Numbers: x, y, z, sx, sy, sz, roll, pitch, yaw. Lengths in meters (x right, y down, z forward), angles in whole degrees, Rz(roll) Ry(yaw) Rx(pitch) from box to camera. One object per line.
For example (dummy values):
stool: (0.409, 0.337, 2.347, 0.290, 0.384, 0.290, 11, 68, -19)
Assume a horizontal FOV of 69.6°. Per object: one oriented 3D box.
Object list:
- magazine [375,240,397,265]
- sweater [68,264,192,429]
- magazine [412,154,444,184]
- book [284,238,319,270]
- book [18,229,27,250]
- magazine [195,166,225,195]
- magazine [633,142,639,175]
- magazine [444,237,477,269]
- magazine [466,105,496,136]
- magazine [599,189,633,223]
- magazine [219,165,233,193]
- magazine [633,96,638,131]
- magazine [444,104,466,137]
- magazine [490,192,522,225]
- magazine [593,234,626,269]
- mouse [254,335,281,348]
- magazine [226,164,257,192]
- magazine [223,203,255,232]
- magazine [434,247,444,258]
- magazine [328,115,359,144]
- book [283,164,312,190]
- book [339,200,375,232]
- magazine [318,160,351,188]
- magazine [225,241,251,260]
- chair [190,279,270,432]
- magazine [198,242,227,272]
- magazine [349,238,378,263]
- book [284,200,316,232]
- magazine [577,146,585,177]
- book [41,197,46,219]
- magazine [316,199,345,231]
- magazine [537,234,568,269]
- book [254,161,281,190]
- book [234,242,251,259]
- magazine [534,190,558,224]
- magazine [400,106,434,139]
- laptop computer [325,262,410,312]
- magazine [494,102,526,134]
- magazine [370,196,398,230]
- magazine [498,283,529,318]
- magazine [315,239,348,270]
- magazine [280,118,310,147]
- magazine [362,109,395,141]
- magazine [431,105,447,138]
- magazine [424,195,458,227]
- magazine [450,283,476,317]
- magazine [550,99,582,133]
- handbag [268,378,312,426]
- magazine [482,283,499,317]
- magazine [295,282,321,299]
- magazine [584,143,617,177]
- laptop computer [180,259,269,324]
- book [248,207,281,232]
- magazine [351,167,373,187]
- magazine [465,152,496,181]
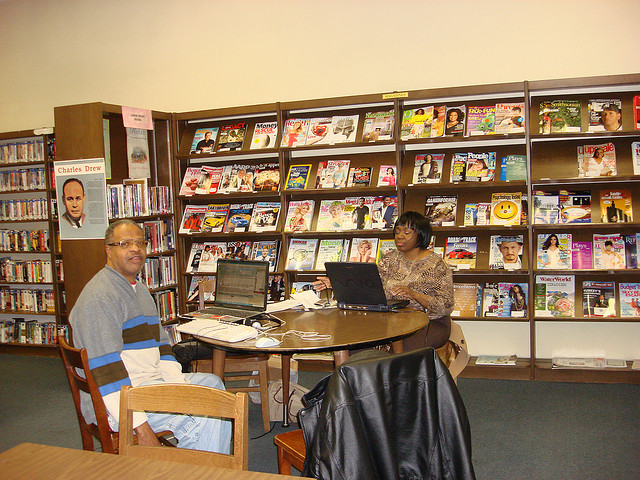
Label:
magazine: (0.617, 0.109, 4.228, 0.240, 0.259, 0.036, 1, -13, 28)
sweater: (-1.150, 0.594, 2.699, 0.572, 0.863, 1.032, -9, -7, -3)
magazine: (1.085, -0.706, 4.556, 0.367, 0.448, 0.050, 4, -35, 20)
book: (-0.185, 0.155, 4.848, 0.338, 0.361, 0.049, 7, -27, 13)
book: (-3.622, -0.003, 5.627, 0.169, 0.214, 0.044, 0, 7, 25)
magazine: (-1.219, -0.667, 5.131, 0.341, 0.383, 0.050, 8, -27, 15)
magazine: (2.867, -0.756, 4.167, 0.046, 0.284, 0.139, 1, 7, 33)
magazine: (1.419, 0.122, 4.570, 0.289, 0.356, 0.378, 5, 12, 43)
magazine: (1.550, -1.144, 4.394, 0.391, 0.378, 0.053, 1, -28, 19)
magazine: (2.727, -0.312, 4.219, 0.337, 0.408, 0.046, -1, -24, 20)
magazine: (-1.036, -0.674, 5.101, 0.050, 0.346, 0.272, 15, -15, -13)
magazine: (2.841, -1.152, 4.143, 0.022, 0.314, 0.195, 1, 7, 30)
magazine: (1.315, -1.160, 4.448, 0.196, 0.325, 0.241, -1, 6, 15)
magazine: (1.787, -0.298, 4.393, 0.344, 0.377, 0.040, 4, -20, 25)
magazine: (2.685, 0.109, 4.243, 0.342, 0.404, 0.048, 1, -16, 18)
mouse: (-0.293, 0.556, 2.559, 0.133, 0.032, 0.142, -3, 6, -10)
magazine: (-0.848, -0.681, 5.050, 0.373, 0.426, 0.043, 6, -30, 25)
magazine: (-0.882, -0.246, 5.063, 0.390, 0.422, 0.059, 2, -34, 12)
magazine: (1.196, 0.111, 4.566, 0.110, 0.026, 0.114, 10, 35, 20)
magazine: (0.255, -1.135, 4.708, 0.361, 0.389, 0.041, 5, -22, 17)
book: (-0.234, -0.687, 4.888, 0.255, 0.258, 0.215, 0, 6, 21)
book: (0.392, -0.241, 4.699, 0.317, 0.377, 0.053, 11, -26, 21)
magazine: (0.159, -0.704, 4.793, 0.306, 0.283, 0.222, -2, 6, 7)
magazine: (-0.884, 0.112, 5.072, 0.220, 0.146, 0.031, 2, -27, 25)
chair: (-0.600, 0.909, 3.671, 0.699, 1.089, 0.748, 3, 9, -17)
magazine: (-1.127, 0.179, 4.845, 0.379, 0.403, 0.058, -1, -34, 21)
magazine: (0.446, 0.087, 4.687, 0.288, 0.210, 0.283, -1, 6, 10)
book: (-0.202, -0.252, 4.850, 0.321, 0.398, 0.044, 8, -22, 23)
magazine: (2.428, -0.746, 4.273, 0.057, 0.280, 0.154, 1, 7, 28)
book: (-3.321, -0.390, 5.552, 0.054, 0.242, 0.135, -6, 7, -31)
magazine: (0.126, -0.258, 4.792, 0.361, 0.448, 0.061, 4, -29, 29)
magazine: (2.205, 0.112, 4.344, 0.379, 0.425, 0.033, 1, -27, 12)
book: (-0.564, -0.704, 4.981, 0.267, 0.300, 0.228, -2, 6, 7)
book: (-0.849, 0.115, 5.103, 0.182, 0.183, 0.024, 8, -25, 14)
magazine: (2.130, -0.325, 4.324, 0.202, 0.291, 0.178, 0, 7, 22)
magazine: (0.966, -1.157, 4.529, 0.441, 0.465, 0.035, 4, -32, 17)
laptop computer: (0.356, 0.316, 3.304, 0.448, 0.347, 0.546, -1, -2, 32)
magazine: (1.790, -1.143, 4.305, 0.379, 0.398, 0.060, 1, -23, 20)
magazine: (0.657, -0.290, 4.646, 0.263, 0.326, 0.252, -1, 6, 11)
magazine: (1.853, 0.579, 4.387, 0.368, 0.443, 0.020, 0, -27, 18)
magazine: (0.120, 0.134, 4.455, 0.306, 0.333, 0.048, 9, -24, 27)
magazine: (-0.249, -1.120, 4.800, 0.389, 0.390, 0.044, 4, -28, 20)
magazine: (0.601, -1.156, 4.624, 0.386, 0.414, 0.041, 7, -27, 23)
magazine: (1.169, -1.168, 4.480, 0.138, 0.336, 0.254, -1, 6, 17)
magazine: (1.200, -0.301, 4.541, 0.314, 0.305, 0.271, -1, 6, 16)
magazine: (1.409, 0.573, 4.493, 0.220, 0.288, 0.221, 0, 6, 19)
magazine: (2.279, -1.161, 4.257, 0.270, 0.314, 0.216, 0, 7, 22)
handbag: (-0.211, 1.347, 3.660, 0.383, 0.347, 0.199, 9, -46, -1)
magazine: (1.651, 0.566, 4.430, 0.142, 0.285, 0.205, 0, 6, 21)
magazine: (-0.099, 0.426, 3.942, 0.208, 0.048, 0.214, 3, 22, 8)
magazine: (2.580, -0.756, 4.233, 0.266, 0.295, 0.203, 0, 6, 18)
laptop computer: (-0.533, 0.318, 3.241, 0.681, 0.470, 0.490, -1, 1, 27)
book: (-0.579, -0.226, 4.949, 0.321, 0.289, 0.033, 1, -32, 15)
magazine: (0.438, -0.646, 4.680, 0.262, 0.323, 0.036, 2, -37, 17)
magazine: (1.562, -0.709, 4.441, 0.331, 0.343, 0.046, 2, -19, 16)
